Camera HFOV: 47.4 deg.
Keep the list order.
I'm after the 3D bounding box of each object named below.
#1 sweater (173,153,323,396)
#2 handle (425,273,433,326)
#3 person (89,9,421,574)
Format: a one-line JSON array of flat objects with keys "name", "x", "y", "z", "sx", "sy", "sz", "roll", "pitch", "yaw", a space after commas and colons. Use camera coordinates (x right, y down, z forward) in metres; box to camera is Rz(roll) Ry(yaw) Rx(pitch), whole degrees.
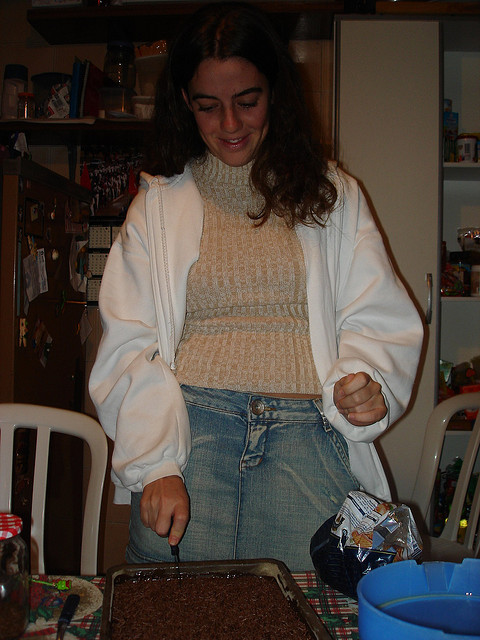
[{"name": "sweater", "x": 0.017, "y": -0.103, "z": 1.016, "sx": 0.262, "sy": 0.459, "sz": 0.205, "roll": 0, "pitch": 1, "yaw": 6}, {"name": "handle", "x": 0.749, "y": -0.086, "z": 2.161, "sx": 0.029, "sy": 0.204, "sz": 0.020, "roll": 0, "pitch": 1, "yaw": 13}, {"name": "person", "x": 0.023, "y": -0.082, "z": 0.989, "sx": 0.565, "sy": 0.968, "sz": 0.538, "roll": 0, "pitch": 1, "yaw": 22}]
